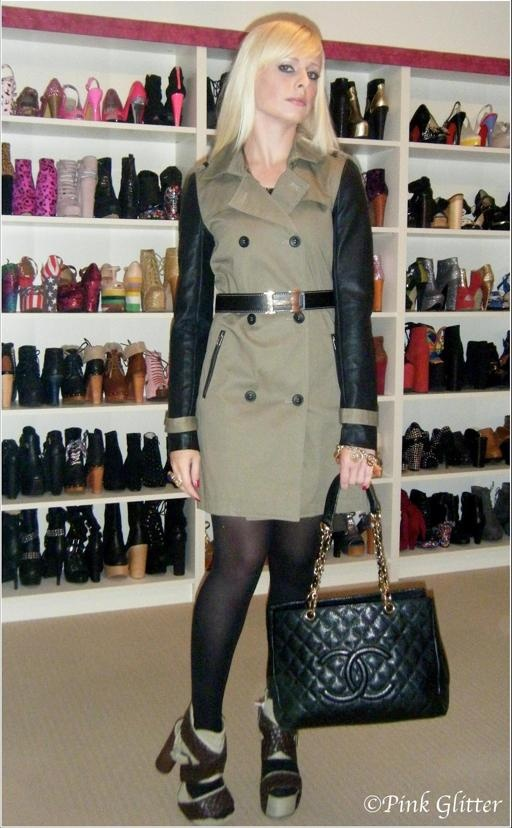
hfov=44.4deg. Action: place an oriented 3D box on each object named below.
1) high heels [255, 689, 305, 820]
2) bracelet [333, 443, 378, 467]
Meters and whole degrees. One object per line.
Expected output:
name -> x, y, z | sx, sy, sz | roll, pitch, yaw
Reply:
high heels -> 0.041, 0.664, 1.230 | 0.074, 0.261, 0.096 | -1, -5, -6
bracelet -> 0.165, 0.055, 1.011 | 0.047, 0.022, 0.039 | 30, 16, 25
